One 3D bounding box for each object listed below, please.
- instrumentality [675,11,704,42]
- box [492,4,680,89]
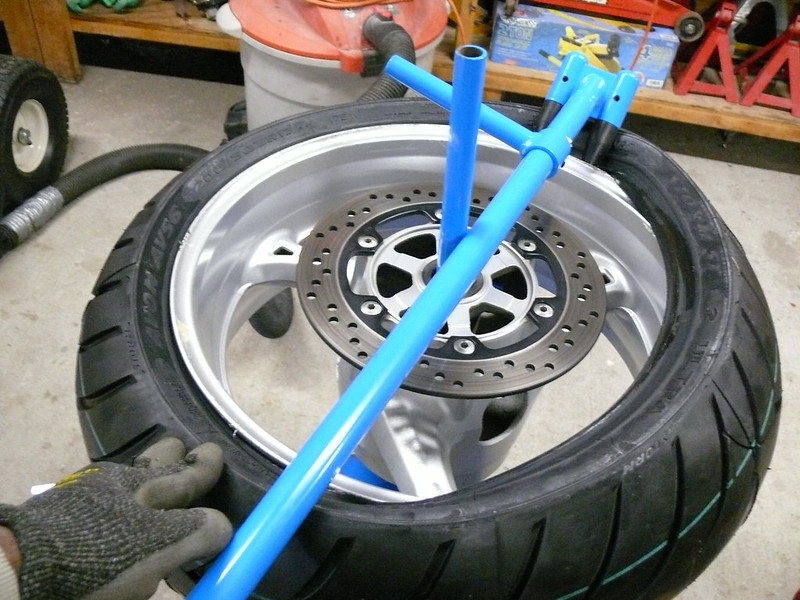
[{"bbox_3d":[0.867,-0.830,2.261,0.094,0.086,0.089,-13,24,5],"label":"instrumentality"},{"bbox_3d":[0.541,-0.749,2.145,0.629,0.103,0.198,14,58,20],"label":"box"}]
